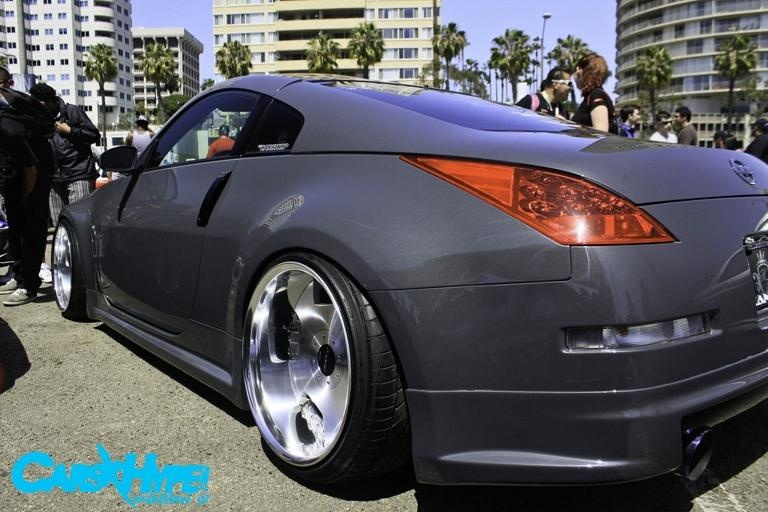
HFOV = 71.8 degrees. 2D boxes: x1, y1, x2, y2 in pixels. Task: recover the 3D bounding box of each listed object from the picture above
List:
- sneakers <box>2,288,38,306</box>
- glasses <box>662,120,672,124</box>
[{"bbox_3d":[-3.639,0.404,5.352,0.134,0.151,0.360,15,3,26],"label":"sneakers"},{"bbox_3d":[4.644,-2.210,8.723,0.137,0.051,0.139,-7,10,-43],"label":"glasses"}]
